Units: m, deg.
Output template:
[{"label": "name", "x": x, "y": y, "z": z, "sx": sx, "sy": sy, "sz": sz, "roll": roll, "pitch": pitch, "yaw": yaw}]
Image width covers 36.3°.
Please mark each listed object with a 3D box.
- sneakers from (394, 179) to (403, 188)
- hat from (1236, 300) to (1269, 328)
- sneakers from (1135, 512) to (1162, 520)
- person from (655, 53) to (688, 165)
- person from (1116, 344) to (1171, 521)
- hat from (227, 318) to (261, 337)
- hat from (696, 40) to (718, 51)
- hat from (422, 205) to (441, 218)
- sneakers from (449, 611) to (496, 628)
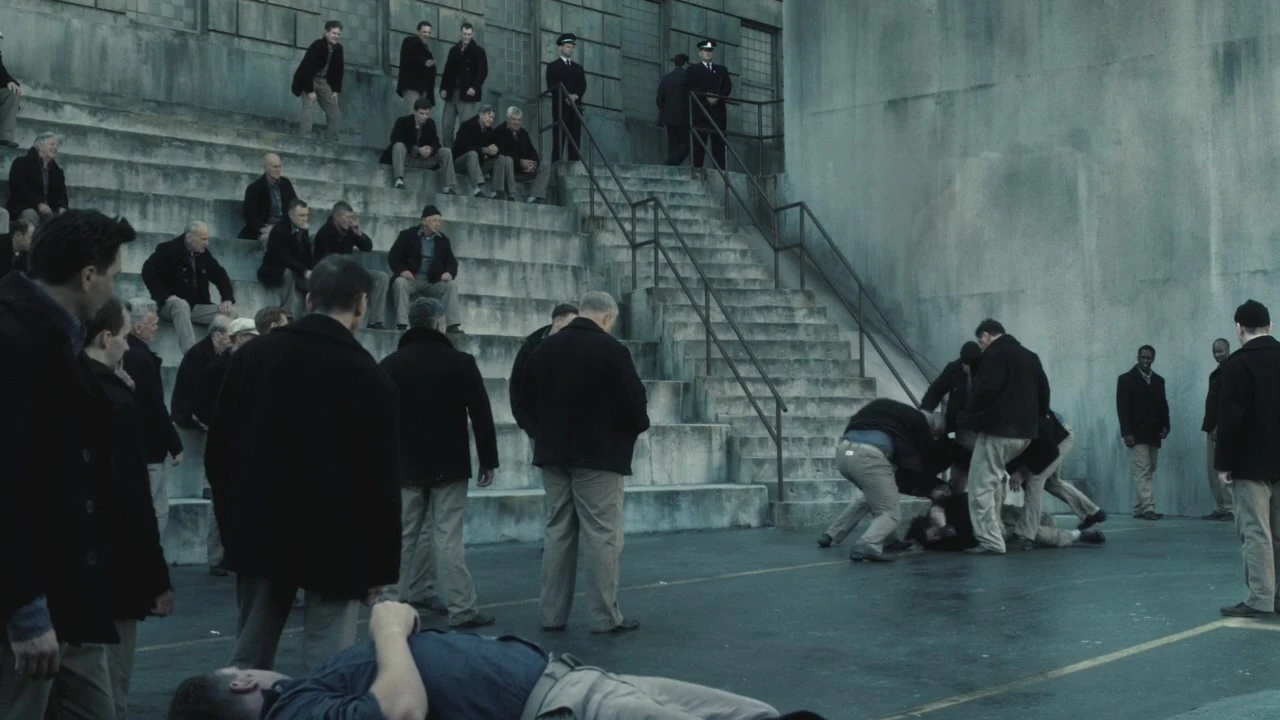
[{"label": "sneakers", "x": -4.083, "y": -2.965, "z": 33.125, "sx": 0.116, "sy": 0.179, "sz": 0.173, "roll": 6, "pitch": 5, "yaw": -14}, {"label": "hat", "x": 7.916, "y": -0.617, "z": 25.233, "sx": 0.307, "sy": 0.256, "sz": 0.406, "roll": 0, "pitch": 12, "yaw": 13}, {"label": "sneakers", "x": 8.100, "y": 2.384, "z": 31.094, "sx": 0.411, "sy": 0.174, "sz": 0.143, "roll": -3, "pitch": -2, "yaw": 37}, {"label": "person", "x": 0.652, "y": -4.549, "z": 37.112, "sx": 0.537, "sy": 1.716, "sz": 0.472, "roll": 0, "pitch": 15, "yaw": 1}, {"label": "person", "x": 8.100, "y": 1.089, "z": 31.175, "sx": 0.682, "sy": 2.529, "sz": 0.863, "roll": -9, "pitch": 17, "yaw": -30}, {"label": "hat", "x": -5.230, "y": -0.447, "z": 25.826, "sx": 0.554, "sy": 0.224, "sz": 0.256, "roll": 7, "pitch": 16, "yaw": 24}, {"label": "hat", "x": 1.304, "y": -5.977, "z": 37.590, "sx": 0.481, "sy": 0.273, "sz": 0.614, "roll": -1, "pitch": 6, "yaw": -9}, {"label": "hat", "x": -3.321, "y": -2.355, "z": 30.792, "sx": 0.333, "sy": 0.194, "sz": 0.241, "roll": -4, "pitch": 1, "yaw": 22}, {"label": "sneakers", "x": -2.127, "y": 3.156, "z": 24.735, "sx": 0.550, "sy": 0.230, "sz": 0.194, "roll": -2, "pitch": 2, "yaw": -12}]
